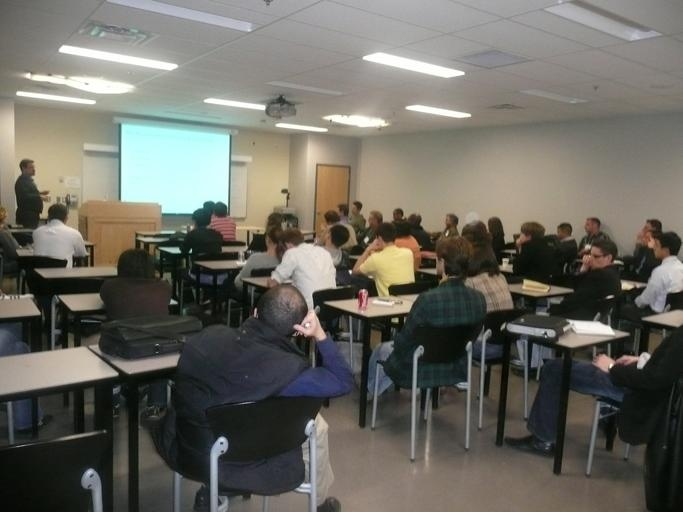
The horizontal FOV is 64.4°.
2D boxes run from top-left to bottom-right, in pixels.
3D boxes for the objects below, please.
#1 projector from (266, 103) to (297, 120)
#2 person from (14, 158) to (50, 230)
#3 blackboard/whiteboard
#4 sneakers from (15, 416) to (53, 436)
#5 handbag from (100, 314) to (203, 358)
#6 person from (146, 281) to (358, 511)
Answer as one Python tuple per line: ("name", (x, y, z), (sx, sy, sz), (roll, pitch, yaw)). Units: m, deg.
("projector", (-0.975, -2.251, 8.425), (0.334, 0.113, 0.342), (-3, -5, 30))
("person", (-5.266, -0.743, 9.230), (0.485, 1.683, 0.593), (-3, 5, -37))
("blackboard/whiteboard", (-3.896, -1.633, 11.599), (2.174, 1.293, 0.103), (-1, 2, -35))
("sneakers", (-2.342, 1.289, 4.135), (0.065, 0.087, 0.200), (6, 11, 21))
("handbag", (-1.169, 0.493, 3.351), (0.410, 0.128, 0.312), (-1, 3, -40))
("person", (-0.488, 0.856, 2.974), (1.020, 1.400, 0.577), (-2, 8, -22))
